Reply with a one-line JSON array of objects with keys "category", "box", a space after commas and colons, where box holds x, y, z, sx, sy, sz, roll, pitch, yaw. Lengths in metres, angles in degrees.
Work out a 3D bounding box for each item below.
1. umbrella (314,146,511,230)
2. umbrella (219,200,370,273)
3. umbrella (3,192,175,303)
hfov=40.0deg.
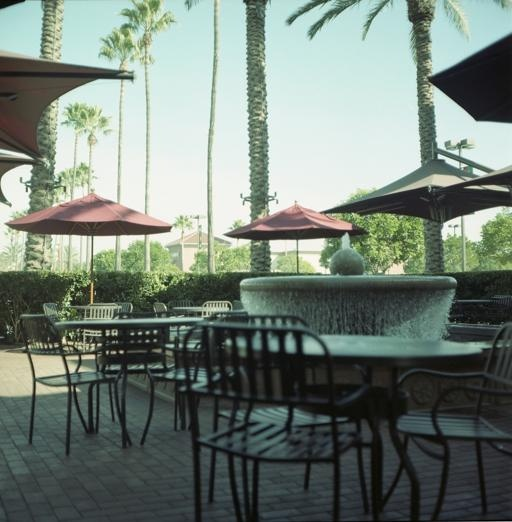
[{"category": "umbrella", "box": [2.828, -1.083, 10.548, 2.425, 0.981, 2.432, 0, 2, -27]}, {"category": "umbrella", "box": [0.683, -0.562, 11.574, 1.795, 0.677, 1.541, -1, -2, -3]}, {"category": "umbrella", "box": [-2.547, -0.261, 10.457, 2.041, 1.110, 1.939, 1, -1, 24]}]
